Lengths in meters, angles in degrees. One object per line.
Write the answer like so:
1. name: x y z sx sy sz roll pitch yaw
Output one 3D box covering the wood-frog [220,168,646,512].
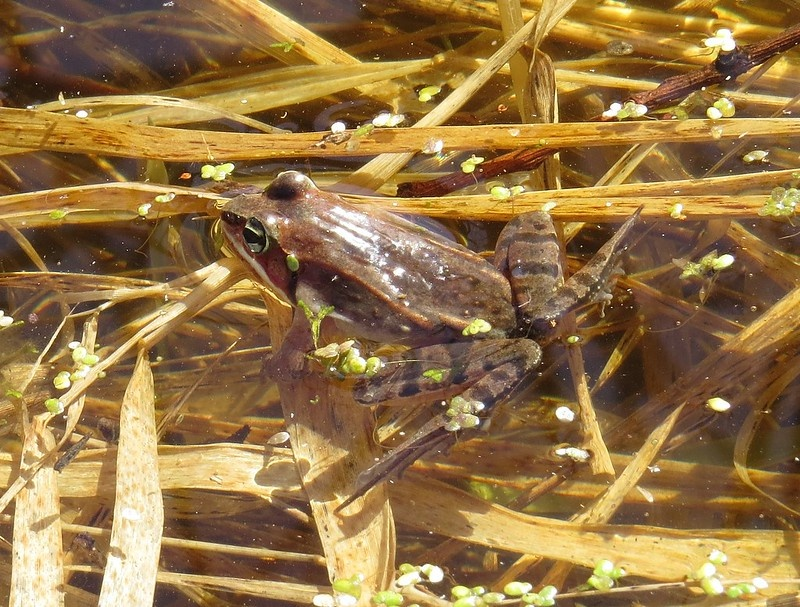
1. wood-frog: 0.038 -0.076 5.950 2.306 1.603 2.004 24 37 32
